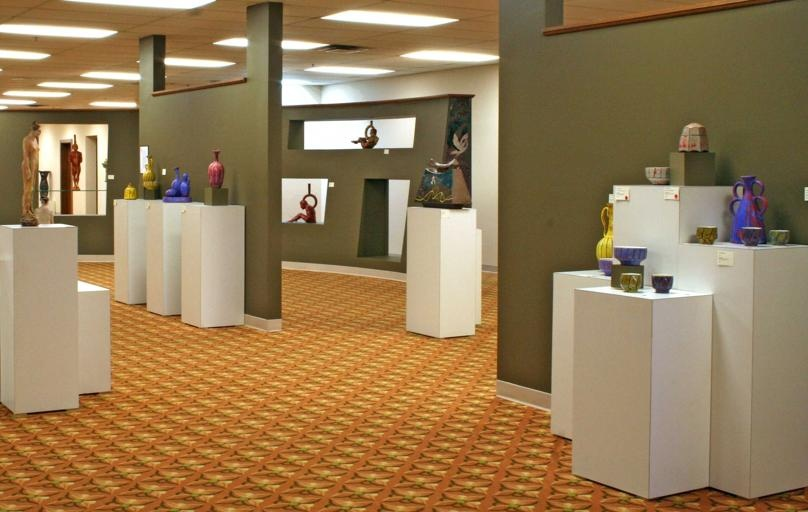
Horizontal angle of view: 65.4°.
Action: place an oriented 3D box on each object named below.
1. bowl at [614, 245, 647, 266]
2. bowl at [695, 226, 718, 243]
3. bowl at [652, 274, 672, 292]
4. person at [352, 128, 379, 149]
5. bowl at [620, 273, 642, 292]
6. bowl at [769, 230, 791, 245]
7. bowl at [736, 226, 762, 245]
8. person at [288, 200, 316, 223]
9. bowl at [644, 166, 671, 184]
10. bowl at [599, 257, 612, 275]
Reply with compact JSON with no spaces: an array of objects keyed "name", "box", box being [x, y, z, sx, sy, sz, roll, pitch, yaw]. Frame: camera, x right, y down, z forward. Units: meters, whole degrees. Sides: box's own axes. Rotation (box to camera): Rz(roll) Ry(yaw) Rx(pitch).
[{"name":"bowl","box":[1.785,-0.019,4.960,0.178,0.094,0.174,0,6,0]},{"name":"bowl","box":[2.293,-0.162,4.753,0.133,0.102,0.142,1,3,0]},{"name":"bowl","box":[1.923,0.200,4.672,0.131,0.097,0.122,0,1,0]},{"name":"person","box":[-0.869,-2.859,14.845,0.486,0.612,1.154,-1,8,-6]},{"name":"bowl","box":[1.705,0.192,4.731,0.143,0.113,0.138,0,3,0]},{"name":"bowl","box":[2.811,-0.146,4.699,0.135,0.084,0.122,-1,3,3]},{"name":"bowl","box":[2.569,-0.157,4.664,0.163,0.137,0.150,0,8,0]},{"name":"person","box":[-2.472,-1.127,15.548,0.614,0.513,0.770,-1,8,-9]},{"name":"bowl","box":[2.065,-0.657,5.121,0.168,0.098,0.169,-1,4,0]},{"name":"bowl","box":[1.723,0.087,5.354,0.133,0.099,0.130,0,5,0]}]
